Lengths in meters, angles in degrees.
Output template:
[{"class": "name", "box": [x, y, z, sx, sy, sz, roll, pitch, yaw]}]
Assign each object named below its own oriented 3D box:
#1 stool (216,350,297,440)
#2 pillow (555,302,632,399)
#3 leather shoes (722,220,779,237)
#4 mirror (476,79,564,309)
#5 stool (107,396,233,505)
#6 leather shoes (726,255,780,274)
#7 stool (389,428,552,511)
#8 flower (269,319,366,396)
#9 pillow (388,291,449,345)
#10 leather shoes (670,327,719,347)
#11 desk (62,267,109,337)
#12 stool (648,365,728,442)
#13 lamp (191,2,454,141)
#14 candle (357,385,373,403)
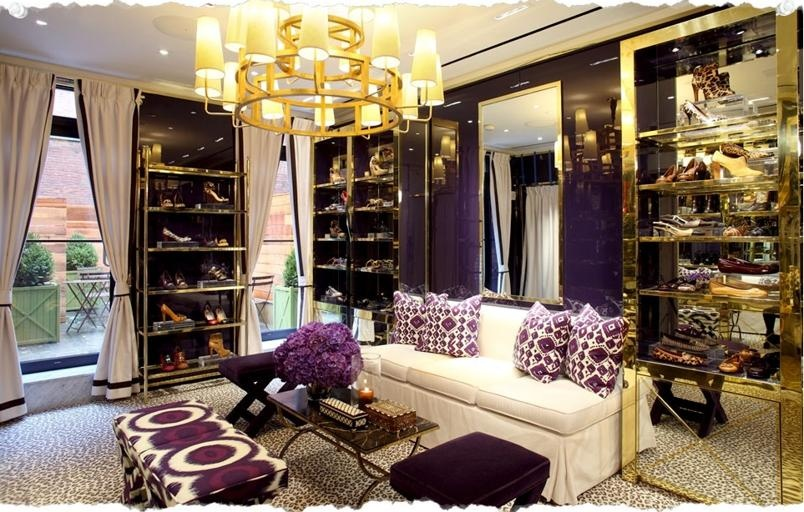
[{"class": "stool", "box": [-1.460, 1.330, 5.469, 0.920, 0.971, 0.830, -1, 3, -30]}, {"class": "pillow", "box": [1.689, 0.837, 4.530, 0.391, 0.632, 0.488, -11, 17, -39]}, {"class": "leather shoes", "box": [2.820, -0.224, 4.107, 0.379, 0.126, 0.136, 3, 1, 37]}, {"class": "mirror", "box": [1.282, -0.661, 5.397, 1.199, 2.247, 0.389, 12, 18, 41]}, {"class": "stool", "box": [-1.876, 1.593, 4.122, 0.840, 0.638, 0.820, 0, 6, -34]}, {"class": "leather shoes", "box": [2.841, 0.075, 4.139, 0.337, 0.113, 0.117, -6, -6, 38]}, {"class": "stool", "box": [0.502, 1.539, 3.606, 1.047, 0.267, 0.517, -6, 14, -24]}, {"class": "flower", "box": [-0.678, 0.834, 4.185, 0.645, 0.483, 0.619, 1, -1, -5]}, {"class": "pillow", "box": [0.148, 0.712, 5.809, 0.621, 0.572, 0.181, 6, -7, 32]}, {"class": "leather shoes", "box": [2.468, 0.669, 4.265, 0.160, 0.072, 0.237, -4, 5, -45]}, {"class": "desk", "box": [-3.678, 0.498, 5.900, 0.707, 0.757, 0.653, 7, 5, 43]}, {"class": "stool", "box": [2.373, 1.214, 4.334, 0.536, 0.606, 0.581, -1, 1, -43]}, {"class": "lamp", "box": [-0.805, -1.683, 4.675, 1.880, 1.149, 2.672, -2, 12, -10]}, {"class": "candle", "box": [-0.295, 1.126, 4.201, 0.133, 0.137, 0.131, 2, 2, -38]}]
